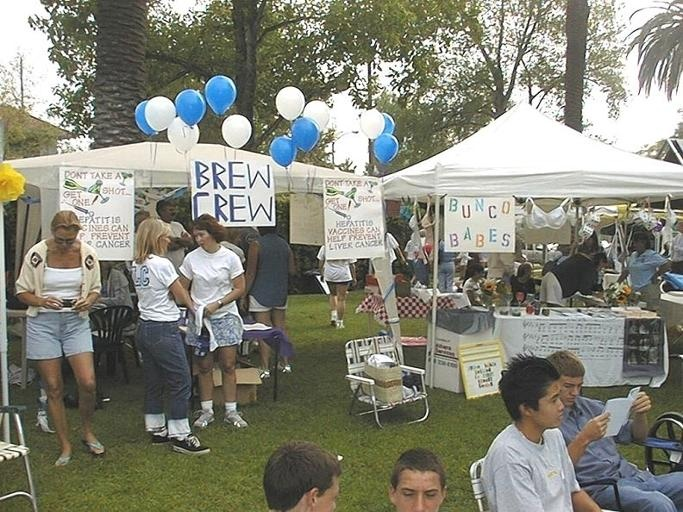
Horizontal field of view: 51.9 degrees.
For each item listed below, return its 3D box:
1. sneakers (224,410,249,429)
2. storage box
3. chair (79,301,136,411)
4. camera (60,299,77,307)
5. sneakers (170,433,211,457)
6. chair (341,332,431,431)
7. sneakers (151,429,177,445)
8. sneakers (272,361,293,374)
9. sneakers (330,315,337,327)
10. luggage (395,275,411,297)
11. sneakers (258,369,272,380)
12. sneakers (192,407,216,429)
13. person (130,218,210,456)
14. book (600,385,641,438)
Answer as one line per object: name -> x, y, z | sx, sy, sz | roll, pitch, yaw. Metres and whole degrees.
sneakers -> -1.244, 1.932, 8.313 | 0.328, 0.145, 0.130 | 3, 1, 41
storage box -> -1.341, 1.610, 9.042 | 0.523, 0.258, 0.772 | 4, 5, -3
chair -> -3.162, 1.225, 9.552 | 0.670, 1.027, 0.750 | -1, -5, -13
camera -> -2.760, 0.475, 7.103 | 0.139, 0.073, 0.032 | 7, -8, -24
sneakers -> -1.648, 2.049, 7.593 | 0.445, 0.195, 0.181 | 1, -2, 14
chair -> 0.523, 1.503, 8.449 | 0.916, 0.931, 0.959 | -5, 8, -14
sneakers -> -1.946, 2.033, 7.865 | 0.348, 0.147, 0.115 | 1, 0, -28
sneakers -> -0.831, 1.597, 10.169 | 0.159, 0.181, 0.427 | 0, 3, -40
sneakers -> -0.160, 1.254, 13.304 | 0.081, 0.168, 0.242 | 1, -27, -3
luggage -> 0.975, 0.484, 11.049 | 0.321, 0.421, 0.439 | 0, 2, -7
sneakers -> -1.093, 1.668, 9.877 | 0.145, 0.095, 0.242 | 0, -7, -16
sneakers -> -1.629, 1.936, 8.340 | 0.129, 0.165, 0.340 | -2, -8, 14
person -> -1.872, 0.879, 7.555 | 0.841, 2.471, 0.462 | 11, 18, 35
book -> 2.358, 1.301, 5.867 | 0.373, 0.508, 0.119 | -7, 22, -24
